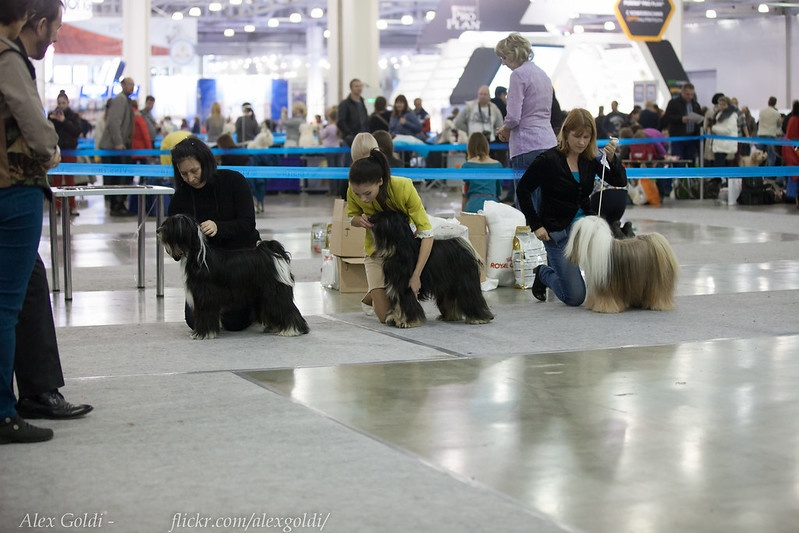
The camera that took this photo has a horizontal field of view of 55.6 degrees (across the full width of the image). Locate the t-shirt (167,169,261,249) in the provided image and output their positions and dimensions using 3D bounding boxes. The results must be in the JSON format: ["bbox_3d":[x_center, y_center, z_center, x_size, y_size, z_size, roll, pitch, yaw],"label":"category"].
[{"bbox_3d":[-1.169,-0.341,5.139,0.542,0.576,0.556,-2,-5,12],"label":"t-shirt"}]

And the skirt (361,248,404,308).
[{"bbox_3d":[-0.169,0.087,5.419,0.276,0.445,0.367,0,5,21],"label":"skirt"}]

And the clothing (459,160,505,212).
[{"bbox_3d":[1.006,-0.994,9.283,0.467,0.582,0.809,0,10,4],"label":"clothing"}]

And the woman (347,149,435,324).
[{"bbox_3d":[-0.062,-0.207,5.275,0.579,1.212,0.535,-1,10,-4],"label":"woman"}]

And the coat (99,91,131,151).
[{"bbox_3d":[-4.633,-2.365,12.400,0.512,0.901,0.338,-4,11,-19],"label":"coat"}]

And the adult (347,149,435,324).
[{"bbox_3d":[-0.063,-0.208,5.281,0.579,1.212,0.546,-1,10,-4],"label":"adult"}]

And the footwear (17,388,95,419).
[{"bbox_3d":[-1.606,0.643,3.563,0.391,0.157,0.122,1,1,-7],"label":"footwear"}]

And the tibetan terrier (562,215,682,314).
[{"bbox_3d":[1.645,0.005,5.593,0.948,0.711,0.551,0,3,12],"label":"tibetan terrier"}]
